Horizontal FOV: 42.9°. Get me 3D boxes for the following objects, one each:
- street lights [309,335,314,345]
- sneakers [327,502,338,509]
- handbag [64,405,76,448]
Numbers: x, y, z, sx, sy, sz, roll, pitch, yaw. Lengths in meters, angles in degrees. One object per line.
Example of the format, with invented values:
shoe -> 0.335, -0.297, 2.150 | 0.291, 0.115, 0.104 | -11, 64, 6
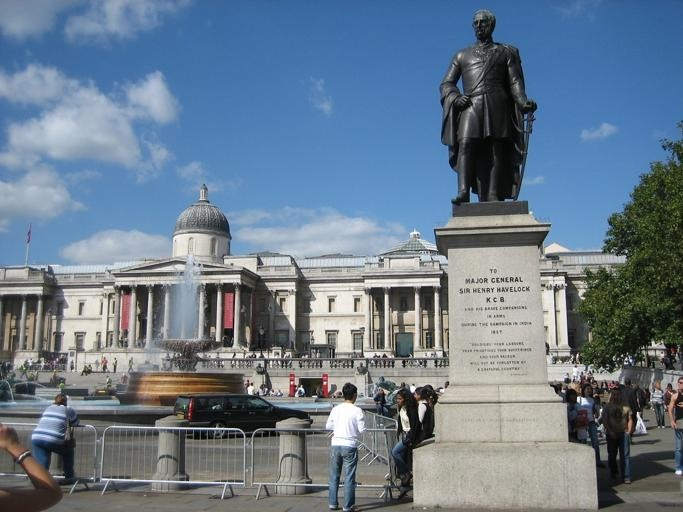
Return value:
street lights -> -3.138, 8.893, 92.872 | 0.446, 0.825, 0.748 | -7, -11, 27
sneakers -> -0.166, 5.449, 18.818 | 0.233, 0.125, 0.255 | -1, -10, -2
handbag -> -6.538, 4.175, 21.070 | 0.264, 0.961, 0.393 | 2, -10, -17
